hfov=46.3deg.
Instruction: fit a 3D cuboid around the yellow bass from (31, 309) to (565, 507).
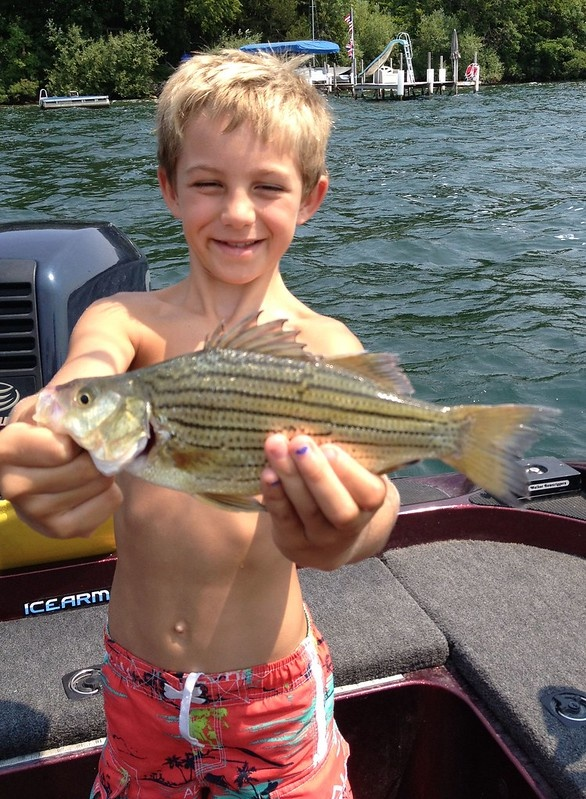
[{"bbox_3d":[-0.020,0.050,1.210,0.927,0.309,0.283,3,-1,13],"label":"yellow bass"}]
